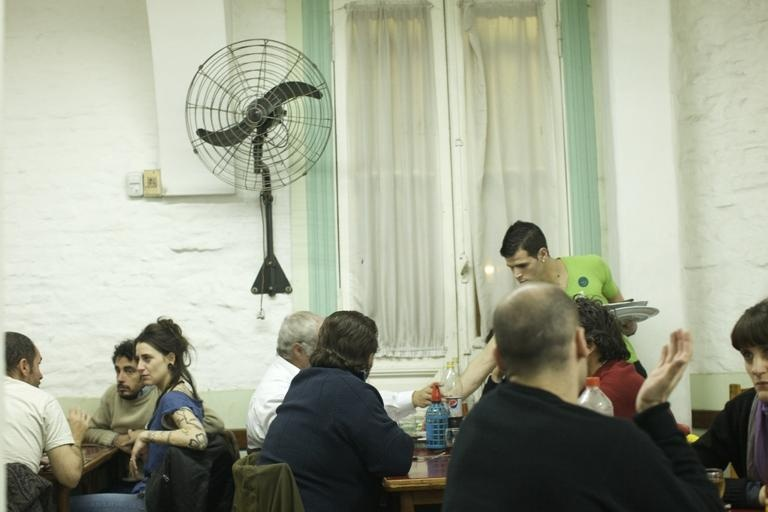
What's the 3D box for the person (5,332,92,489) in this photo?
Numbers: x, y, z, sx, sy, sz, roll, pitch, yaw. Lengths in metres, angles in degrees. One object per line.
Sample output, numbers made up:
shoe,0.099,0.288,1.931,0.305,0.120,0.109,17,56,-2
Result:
person,-2.017,0.918,5.087,0.453,0.864,0.609,-4,4,-20
